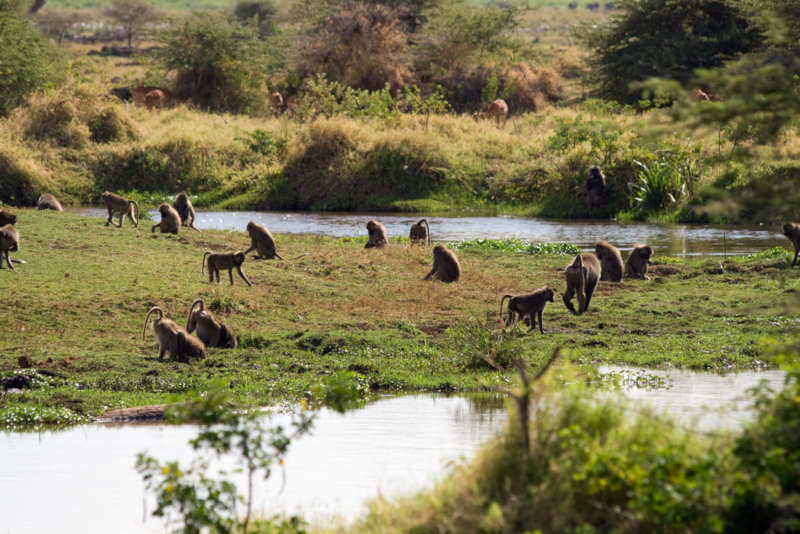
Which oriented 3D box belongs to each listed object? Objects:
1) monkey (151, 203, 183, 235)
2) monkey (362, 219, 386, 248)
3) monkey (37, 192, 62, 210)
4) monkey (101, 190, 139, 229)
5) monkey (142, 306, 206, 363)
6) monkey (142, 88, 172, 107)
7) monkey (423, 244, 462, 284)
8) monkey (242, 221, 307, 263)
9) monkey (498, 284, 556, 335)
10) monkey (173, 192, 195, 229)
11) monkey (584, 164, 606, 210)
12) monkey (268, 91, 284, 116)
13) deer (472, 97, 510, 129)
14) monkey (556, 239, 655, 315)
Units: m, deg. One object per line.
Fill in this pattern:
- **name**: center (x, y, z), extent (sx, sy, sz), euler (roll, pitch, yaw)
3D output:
- **monkey**: center (-7.571, -1.623, 47.367), extent (0.681, 0.838, 1.086), euler (-11, 28, -31)
- **monkey**: center (-0.783, -1.164, 48.123), extent (0.521, 0.724, 0.988), euler (-2, 25, -12)
- **monkey**: center (-11.921, -2.195, 49.713), extent (0.816, 0.498, 0.804), euler (-7, 15, -34)
- **monkey**: center (-9.084, -1.897, 47.613), extent (1.004, 1.075, 1.508), euler (-1, 12, -12)
- **monkey**: center (-5.898, 1.965, 38.563), extent (2.336, 2.026, 1.106), euler (1, -3, 5)
- **monkey**: center (-12.470, -8.701, 74.906), extent (0.657, 1.335, 2.428), euler (-3, 13, -21)
- **monkey**: center (1.335, -0.106, 44.400), extent (1.038, 1.103, 0.531), euler (4, 12, 9)
- **monkey**: center (-4.348, -0.759, 45.995), extent (2.764, 1.860, 1.091), euler (1, -1, 12)
- **monkey**: center (3.502, 1.100, 40.991), extent (1.434, 1.290, 1.613), euler (0, 12, -6)
- **monkey**: center (-7.331, -1.893, 49.805), extent (0.484, 1.728, 0.715), euler (-23, 49, -20)
- **monkey**: center (7.529, -3.121, 56.030), extent (0.564, 1.843, 1.003), euler (-2, 37, 2)
- **monkey**: center (-6.522, -8.761, 78.296), extent (0.721, 1.067, 1.689), euler (0, 12, -5)
- **deer**: center (4.485, -7.600, 71.212), extent (1.510, 0.986, 3.298), euler (2, 12, 0)
- **monkey**: center (6.122, 0.169, 43.598), extent (1.487, 1.703, 4.424), euler (9, 14, 31)
